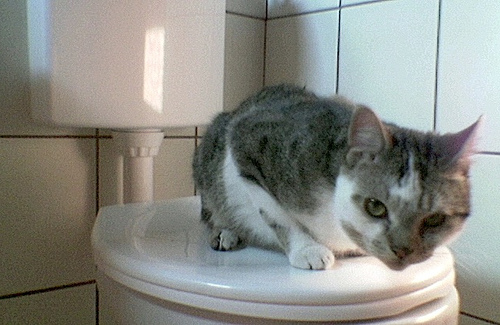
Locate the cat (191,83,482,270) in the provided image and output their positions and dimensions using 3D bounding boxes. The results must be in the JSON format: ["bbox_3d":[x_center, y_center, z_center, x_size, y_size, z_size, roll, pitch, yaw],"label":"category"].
[{"bbox_3d":[0.154,0.040,1.081,0.344,0.318,0.572,0,4,-35],"label":"cat"}]
